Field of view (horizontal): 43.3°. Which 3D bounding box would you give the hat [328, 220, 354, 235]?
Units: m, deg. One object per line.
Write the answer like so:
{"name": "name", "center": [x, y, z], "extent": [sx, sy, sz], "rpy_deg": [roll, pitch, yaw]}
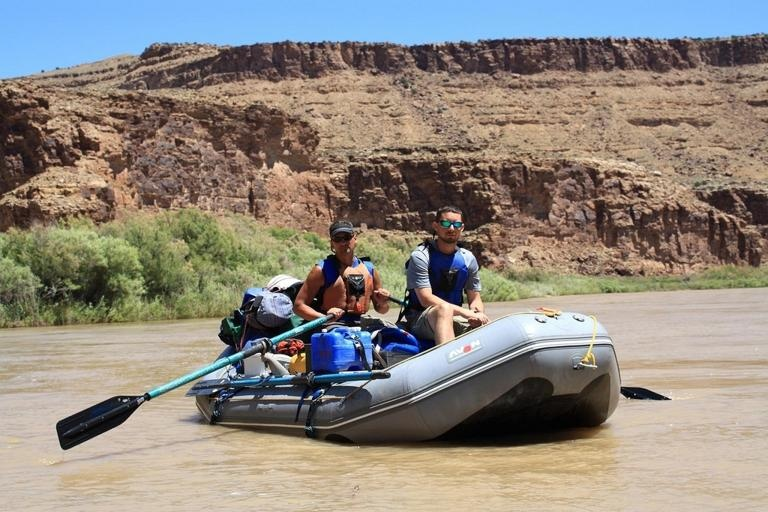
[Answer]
{"name": "hat", "center": [-0.687, -0.453, 15.903], "extent": [0.383, 0.244, 0.271], "rpy_deg": [0, 7, 5]}
